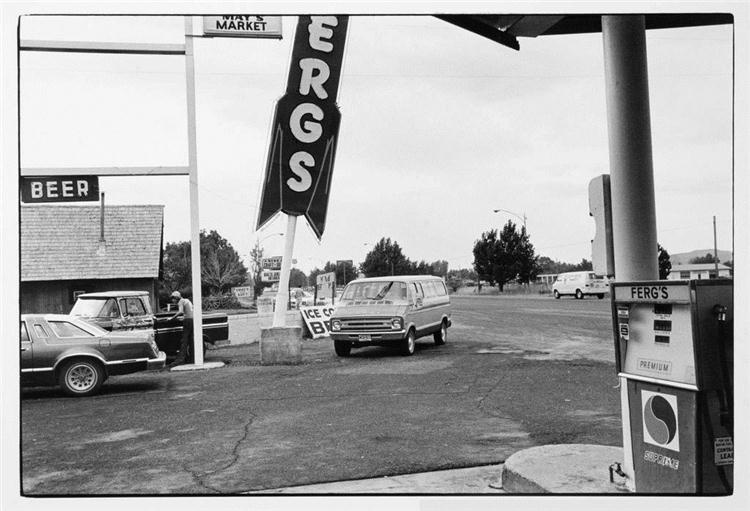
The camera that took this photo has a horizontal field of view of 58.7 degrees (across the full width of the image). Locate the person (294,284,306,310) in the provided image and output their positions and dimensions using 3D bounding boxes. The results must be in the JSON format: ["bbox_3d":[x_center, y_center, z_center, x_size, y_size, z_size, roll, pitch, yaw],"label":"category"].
[{"bbox_3d":[-3.731,2.169,33.601,0.531,0.541,1.655,7,-31,-2],"label":"person"}]

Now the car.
[{"bbox_3d":[-5.832,2.051,13.723,2.470,0.863,1.395,0,2,-12],"label":"car"}]

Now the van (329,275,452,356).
[{"bbox_3d":[0.668,1.634,18.436,1.651,1.500,3.308,-4,-7,19],"label":"van"}]

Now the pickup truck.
[{"bbox_3d":[-5.754,1.874,17.002,3.292,1.609,1.899,2,-3,-12],"label":"pickup truck"}]

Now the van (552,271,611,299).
[{"bbox_3d":[11.277,1.699,35.933,1.764,1.548,3.135,1,0,-22],"label":"van"}]
